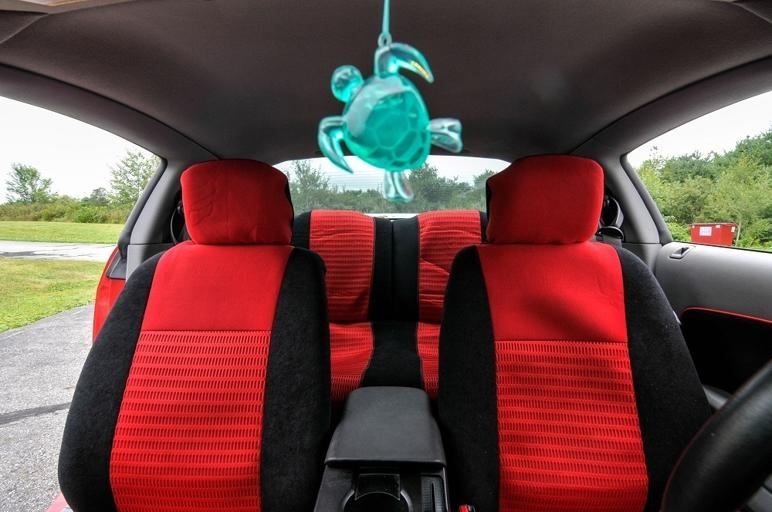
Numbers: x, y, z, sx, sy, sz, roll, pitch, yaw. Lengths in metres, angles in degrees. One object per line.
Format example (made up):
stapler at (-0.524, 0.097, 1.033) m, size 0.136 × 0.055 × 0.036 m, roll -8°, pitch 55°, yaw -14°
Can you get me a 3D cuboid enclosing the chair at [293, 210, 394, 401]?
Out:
chair at (-0.263, 0.227, 2.717) m, size 0.559 × 0.779 × 0.692 m, roll 3°, pitch 28°, yaw -12°
